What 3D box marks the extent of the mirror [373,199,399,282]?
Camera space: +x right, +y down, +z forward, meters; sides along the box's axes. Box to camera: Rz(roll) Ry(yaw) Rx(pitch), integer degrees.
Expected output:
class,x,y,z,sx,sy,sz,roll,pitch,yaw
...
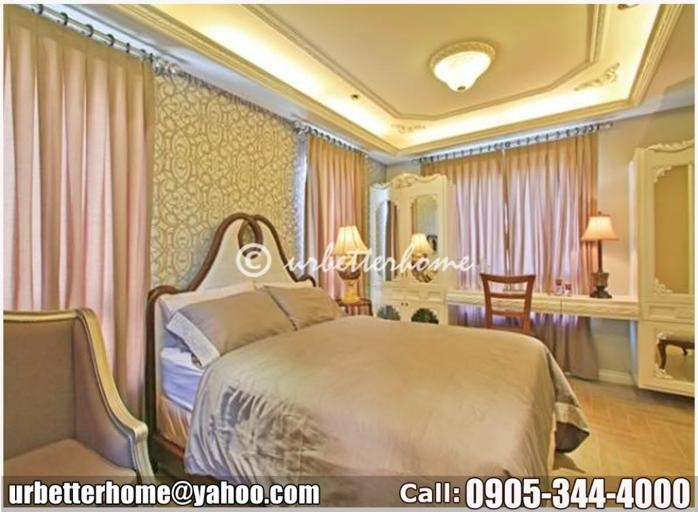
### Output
class,x,y,z,sx,sy,sz,roll,pitch,yaw
mirror,0.467,-0.174,6.018,0.293,1.264,0.027,4,32,11

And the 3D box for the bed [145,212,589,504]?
class,x,y,z,sx,sy,sz,roll,pitch,yaw
bed,-0.012,0.735,3.560,2.214,1.528,1.833,-2,0,24

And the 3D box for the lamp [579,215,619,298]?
class,x,y,z,sx,sy,sz,roll,pitch,yaw
lamp,2.460,-0.010,4.852,0.317,0.835,0.325,-1,0,5

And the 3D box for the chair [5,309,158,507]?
class,x,y,z,sx,sy,sz,roll,pitch,yaw
chair,-1.541,0.825,3.305,0.975,1.280,0.901,1,0,35

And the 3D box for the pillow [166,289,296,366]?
class,x,y,z,sx,sy,sz,roll,pitch,yaw
pillow,-0.866,0.477,3.863,0.721,0.264,0.935,24,26,34

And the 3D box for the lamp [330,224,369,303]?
class,x,y,z,sx,sy,sz,roll,pitch,yaw
lamp,0.020,0.110,5.171,0.422,0.790,0.451,-6,-2,25

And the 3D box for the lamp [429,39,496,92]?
class,x,y,z,sx,sy,sz,roll,pitch,yaw
lamp,0.957,-1.570,4.220,0.514,0.279,0.540,-6,3,44
